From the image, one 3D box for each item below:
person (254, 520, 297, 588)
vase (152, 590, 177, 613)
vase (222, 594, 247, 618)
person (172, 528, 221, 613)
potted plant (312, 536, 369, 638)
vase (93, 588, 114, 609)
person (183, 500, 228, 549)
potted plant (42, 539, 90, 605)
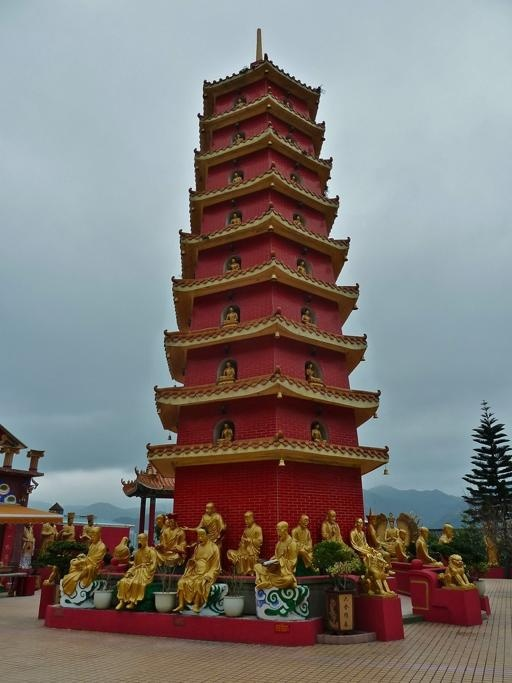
[{"bbox_3d":[0.441,4.673,11.393,0.804,1.250,1.014,29,-64,-13],"label":"person"},{"bbox_3d":[-1.990,5.745,11.526,0.469,0.315,0.422,-3,-43,1],"label":"vase"},{"bbox_3d":[-0.452,5.539,10.950,0.469,0.315,0.421,4,-42,-4],"label":"vase"},{"bbox_3d":[-1.270,5.114,11.759,0.893,1.720,0.820,2,-21,1],"label":"person"},{"bbox_3d":[1.789,5.297,11.120,1.326,1.864,1.025,17,-48,-10],"label":"potted plant"},{"bbox_3d":[-3.556,5.969,12.196,0.451,0.316,0.415,15,-53,-25],"label":"vase"},{"bbox_3d":[-1.223,4.619,13.121,0.773,1.049,0.619,-28,-53,9],"label":"person"},{"bbox_3d":[-5.741,6.503,15.327,1.401,1.667,1.480,3,-73,-4],"label":"potted plant"}]
